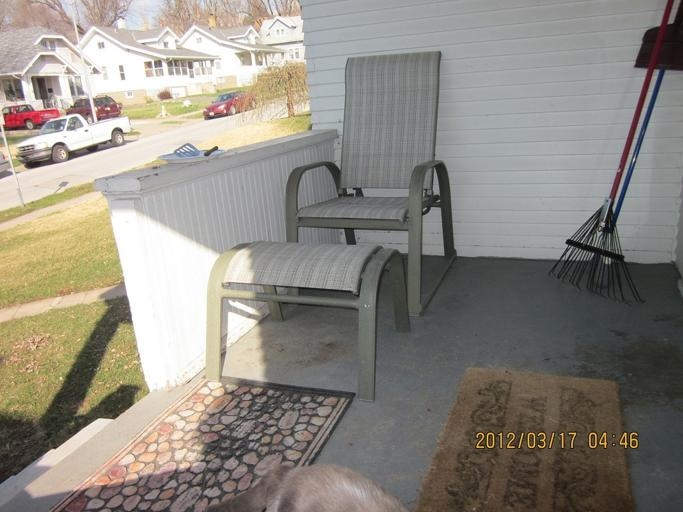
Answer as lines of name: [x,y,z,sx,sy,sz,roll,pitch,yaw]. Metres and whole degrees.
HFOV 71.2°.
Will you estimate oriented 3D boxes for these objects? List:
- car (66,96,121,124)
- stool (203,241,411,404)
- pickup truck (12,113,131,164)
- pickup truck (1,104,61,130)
car: [-8.694,-5.150,16.456,1.852,0.945,1.111,13,22,30]
stool: [-0.134,0.145,2.711,0.978,0.585,0.962,3,23,16]
pickup truck: [-6.954,-3.102,12.756,1.220,0.948,2.832,5,25,32]
pickup truck: [-9.700,-4.048,14.502,1.970,0.762,1.050,7,17,23]
